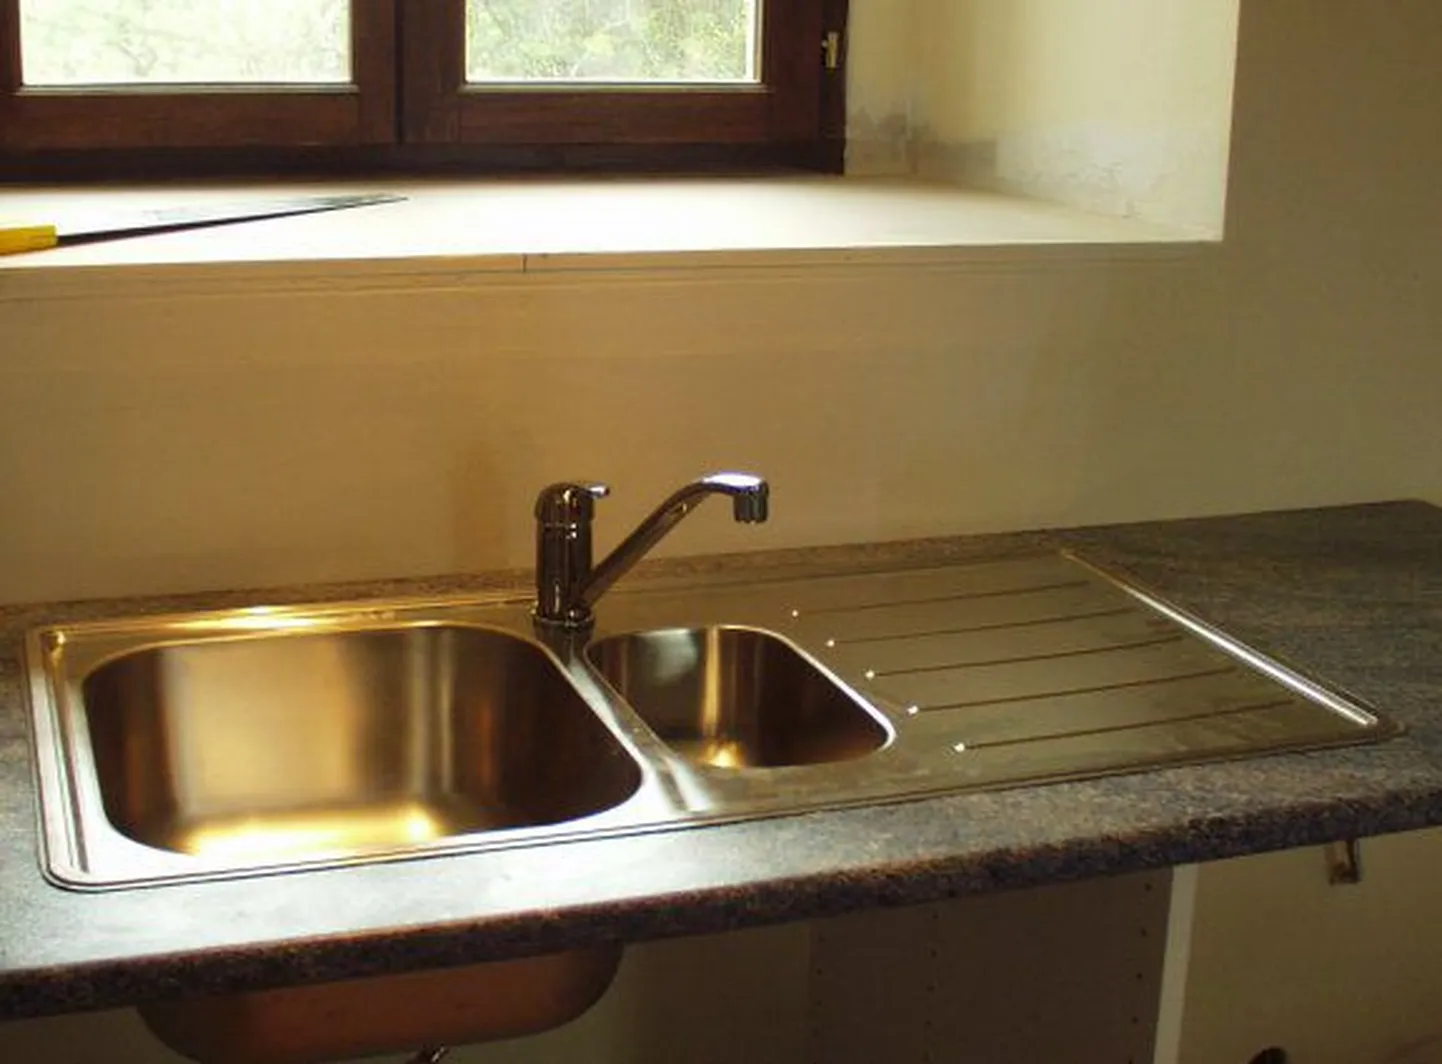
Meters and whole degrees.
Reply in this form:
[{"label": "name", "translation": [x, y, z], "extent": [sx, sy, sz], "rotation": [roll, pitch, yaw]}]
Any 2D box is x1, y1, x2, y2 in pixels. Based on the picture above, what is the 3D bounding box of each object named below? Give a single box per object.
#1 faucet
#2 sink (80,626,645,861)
[{"label": "faucet", "translation": [-0.085, 0.022, 1.214], "extent": [0.125, 0.167, 0.283], "rotation": [-9, 14, -34]}, {"label": "sink", "translation": [-0.391, 0.218, 1.216], "extent": [0.355, 0.123, 0.278], "rotation": [0, 25, -24]}]
